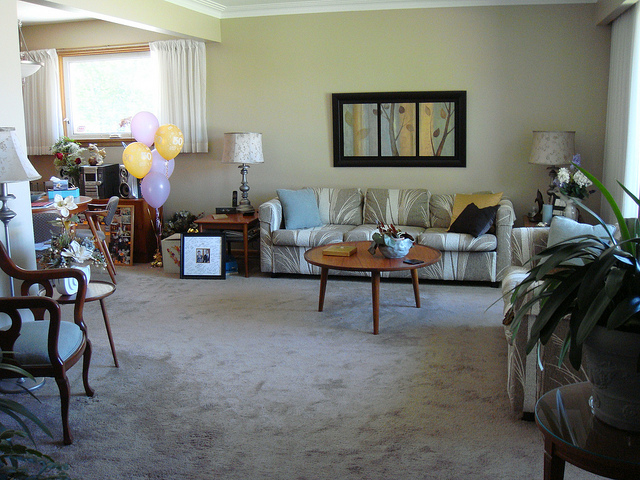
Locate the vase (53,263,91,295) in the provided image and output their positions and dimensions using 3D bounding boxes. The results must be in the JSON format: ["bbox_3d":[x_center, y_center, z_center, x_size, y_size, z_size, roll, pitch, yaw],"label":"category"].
[{"bbox_3d":[-1.730,0.298,3.531,0.061,0.181,0.197,-9,-11,19],"label":"vase"}]

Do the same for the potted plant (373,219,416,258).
[{"bbox_3d":[0.630,0.029,4.583,0.409,0.320,0.438,4,-1,15],"label":"potted plant"}]

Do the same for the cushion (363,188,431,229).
[{"bbox_3d":[0.925,-0.430,6.270,0.834,0.551,0.309,1,9,2],"label":"cushion"}]

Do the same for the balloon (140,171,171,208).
[{"bbox_3d":[-2.018,-0.611,6.311,0.370,0.509,0.377,-1,-1,-28],"label":"balloon"}]

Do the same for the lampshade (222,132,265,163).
[{"bbox_3d":[-0.961,-1.147,6.390,0.554,0.398,0.593,1,6,20],"label":"lampshade"}]

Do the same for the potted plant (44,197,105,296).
[{"bbox_3d":[-1.757,0.039,3.519,0.406,0.690,0.433,1,7,32],"label":"potted plant"}]

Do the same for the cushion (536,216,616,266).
[{"bbox_3d":[1.855,0.011,3.630,0.563,0.215,0.544,-20,3,-41],"label":"cushion"}]

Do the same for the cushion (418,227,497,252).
[{"bbox_3d":[1.470,0.023,5.444,0.822,0.177,0.226,2,14,10],"label":"cushion"}]

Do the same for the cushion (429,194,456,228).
[{"bbox_3d":[1.430,-0.340,6.020,0.327,0.361,0.135,-5,-7,29],"label":"cushion"}]

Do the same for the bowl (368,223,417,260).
[{"bbox_3d":[0.622,0.020,4.620,0.372,0.282,0.437,-5,8,-29],"label":"bowl"}]

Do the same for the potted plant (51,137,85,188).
[{"bbox_3d":[-3.251,-0.978,6.561,0.339,0.602,0.343,0,3,-25],"label":"potted plant"}]

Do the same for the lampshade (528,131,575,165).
[{"bbox_3d":[2.602,-0.965,5.709,0.486,0.508,0.495,-1,9,-8],"label":"lampshade"}]

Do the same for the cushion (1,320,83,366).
[{"bbox_3d":[-1.592,0.593,2.956,0.343,0.092,0.358,-5,13,-40],"label":"cushion"}]

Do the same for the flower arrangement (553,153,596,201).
[{"bbox_3d":[2.412,-0.612,4.887,0.293,0.455,0.910,5,15,24],"label":"flower arrangement"}]

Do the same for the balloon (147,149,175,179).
[{"bbox_3d":[-1.967,-0.910,6.326,0.288,0.355,0.286,25,14,25],"label":"balloon"}]

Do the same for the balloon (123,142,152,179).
[{"bbox_3d":[-2.127,-0.966,6.035,0.354,0.481,0.351,-14,20,-39],"label":"balloon"}]

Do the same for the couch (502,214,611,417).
[{"bbox_3d":[1.156,0.406,2.507,0.373,0.485,1.111,2,26,15],"label":"couch"}]

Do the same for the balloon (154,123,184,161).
[{"bbox_3d":[-1.789,-1.157,6.029,0.361,0.493,0.362,-9,17,-37],"label":"balloon"}]

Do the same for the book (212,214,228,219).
[{"bbox_3d":[-1.237,-0.293,6.276,0.180,0.015,0.235,-5,15,-17],"label":"book"}]

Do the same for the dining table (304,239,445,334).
[{"bbox_3d":[0.477,0.403,4.927,1.271,0.668,1.323,6,15,31],"label":"dining table"}]

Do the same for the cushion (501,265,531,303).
[{"bbox_3d":[1.202,0.266,3.105,0.235,0.114,0.239,-23,7,35],"label":"cushion"}]

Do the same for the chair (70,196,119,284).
[{"bbox_3d":[-2.665,-0.004,5.846,0.574,0.930,0.583,2,9,-15],"label":"chair"}]

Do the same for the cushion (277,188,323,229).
[{"bbox_3d":[-0.251,-0.373,6.017,0.495,0.479,0.148,-2,-24,-48],"label":"cushion"}]
